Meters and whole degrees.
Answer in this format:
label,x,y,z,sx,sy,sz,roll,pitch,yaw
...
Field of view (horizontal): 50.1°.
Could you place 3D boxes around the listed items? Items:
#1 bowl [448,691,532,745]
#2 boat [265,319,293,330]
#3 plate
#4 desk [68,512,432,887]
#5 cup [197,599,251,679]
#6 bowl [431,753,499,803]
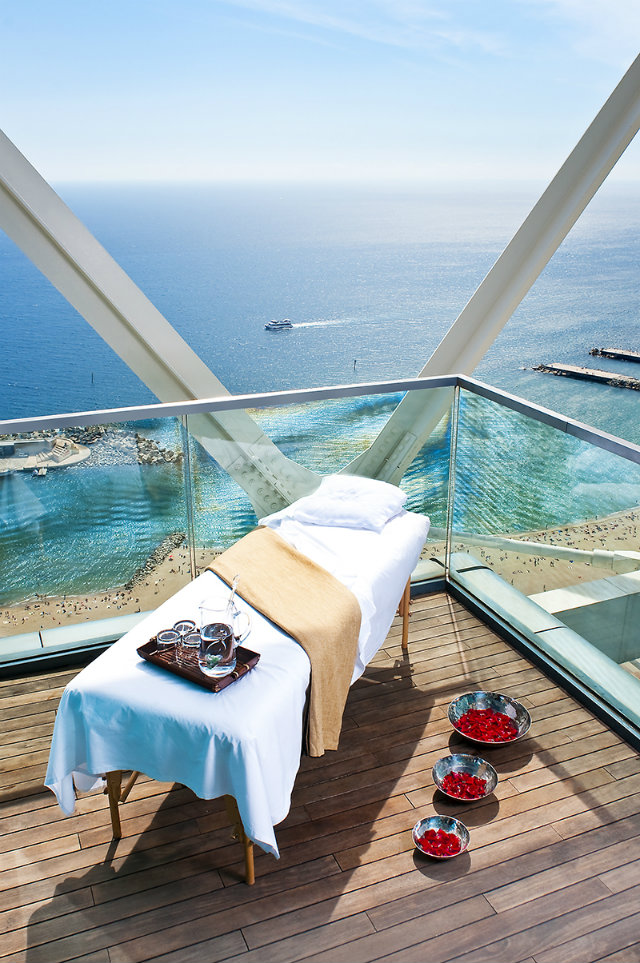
label,x,y,z,sx,sy,sz,roll,pitch,yaw
bowl,0.547,0.747,2.160,0.249,0.059,0.213,0,13,2
boat,-1.179,-4.474,19.812,0.785,0.349,0.854,-1,13,-4
plate,-0.286,0.401,1.497,0.185,0.025,0.110,15,27,33
desk,-0.192,0.574,1.843,0.583,0.640,0.972,5,14,22
cup,-0.242,0.352,1.568,0.089,0.156,0.157,4,3,31
bowl,0.414,0.826,1.909,0.173,0.035,0.158,0,13,0
